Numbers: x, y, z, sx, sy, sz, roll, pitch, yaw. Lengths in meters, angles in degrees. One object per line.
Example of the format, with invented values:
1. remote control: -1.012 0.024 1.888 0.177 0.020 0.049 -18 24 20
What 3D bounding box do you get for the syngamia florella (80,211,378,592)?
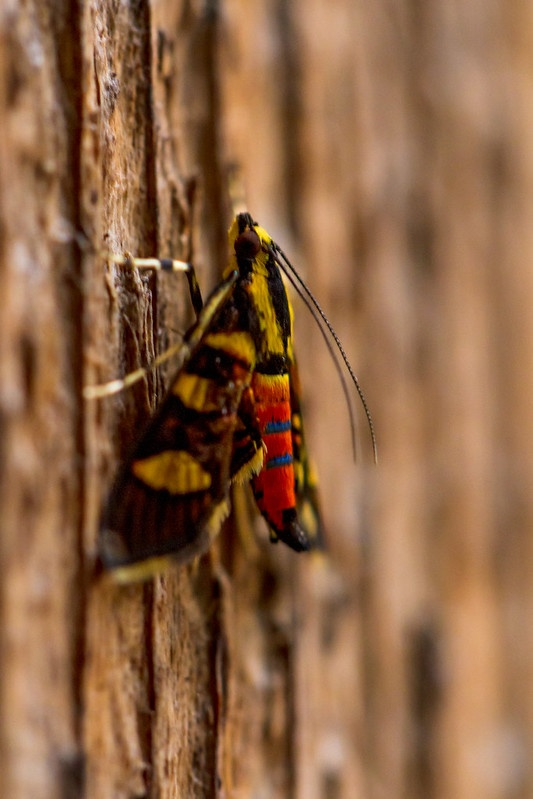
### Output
1. syngamia florella: -0.024 0.002 1.685 0.366 0.128 0.369 -2 70 -36
